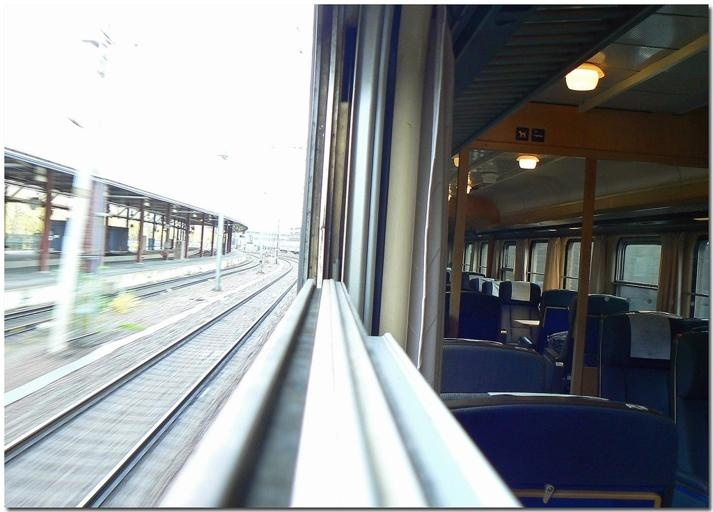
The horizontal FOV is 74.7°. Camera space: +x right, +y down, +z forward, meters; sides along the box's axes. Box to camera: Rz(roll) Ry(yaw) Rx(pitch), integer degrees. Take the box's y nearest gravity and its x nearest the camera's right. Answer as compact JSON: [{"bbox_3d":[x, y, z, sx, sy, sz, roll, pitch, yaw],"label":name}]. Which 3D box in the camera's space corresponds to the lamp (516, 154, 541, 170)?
[{"bbox_3d":[1.848,-1.009,5.052,0.292,0.142,0.284,0,3,3],"label":"lamp"}]

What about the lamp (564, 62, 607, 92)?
[{"bbox_3d":[1.671,-1.276,3.392,0.229,0.183,0.488,11,11,24],"label":"lamp"}]

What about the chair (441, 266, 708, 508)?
[{"bbox_3d":[0.615,0.423,1.670,0.572,0.749,0.687,1,1,6],"label":"chair"}]
